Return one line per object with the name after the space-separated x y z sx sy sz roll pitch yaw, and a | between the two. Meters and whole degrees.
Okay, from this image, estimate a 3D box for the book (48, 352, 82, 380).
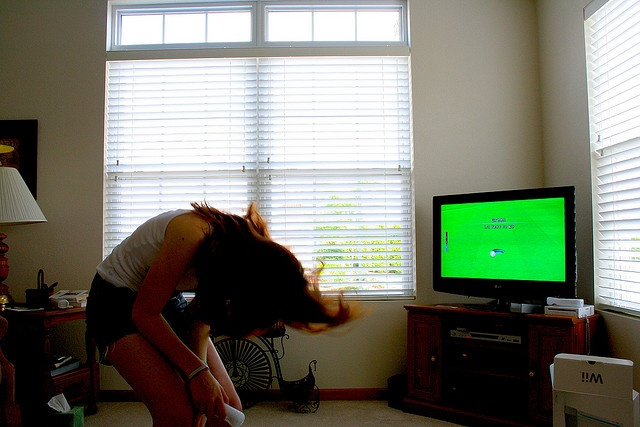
-2.144 1.285 4.590 0.309 0.068 0.309 2 2 32 | book

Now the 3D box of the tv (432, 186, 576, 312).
1.605 0.302 4.754 1.224 1.007 0.435 -3 -3 35 | tv
